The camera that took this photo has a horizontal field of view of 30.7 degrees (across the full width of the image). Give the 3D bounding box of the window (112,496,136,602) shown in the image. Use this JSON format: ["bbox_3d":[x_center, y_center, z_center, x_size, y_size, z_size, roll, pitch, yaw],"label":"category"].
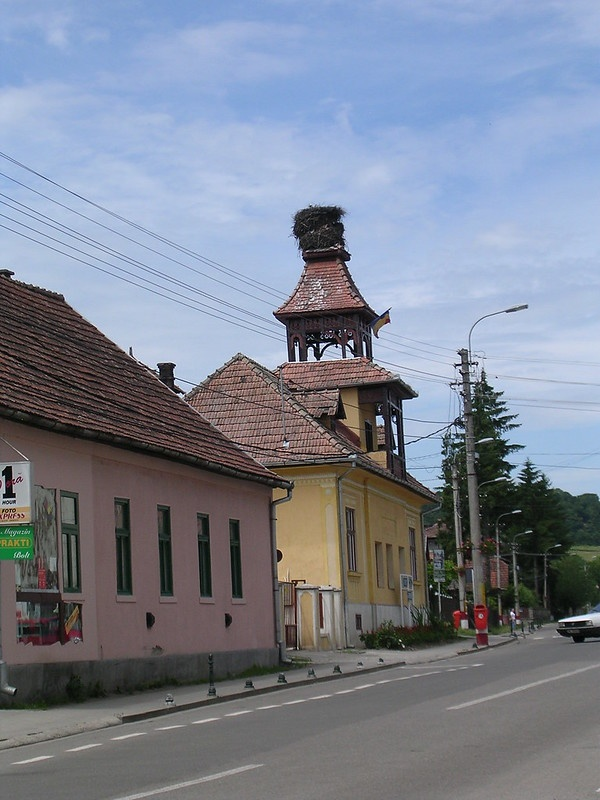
[{"bbox_3d":[-3.138,2.604,19.397,0.176,1.702,0.575,-7,-12,11],"label":"window"}]
